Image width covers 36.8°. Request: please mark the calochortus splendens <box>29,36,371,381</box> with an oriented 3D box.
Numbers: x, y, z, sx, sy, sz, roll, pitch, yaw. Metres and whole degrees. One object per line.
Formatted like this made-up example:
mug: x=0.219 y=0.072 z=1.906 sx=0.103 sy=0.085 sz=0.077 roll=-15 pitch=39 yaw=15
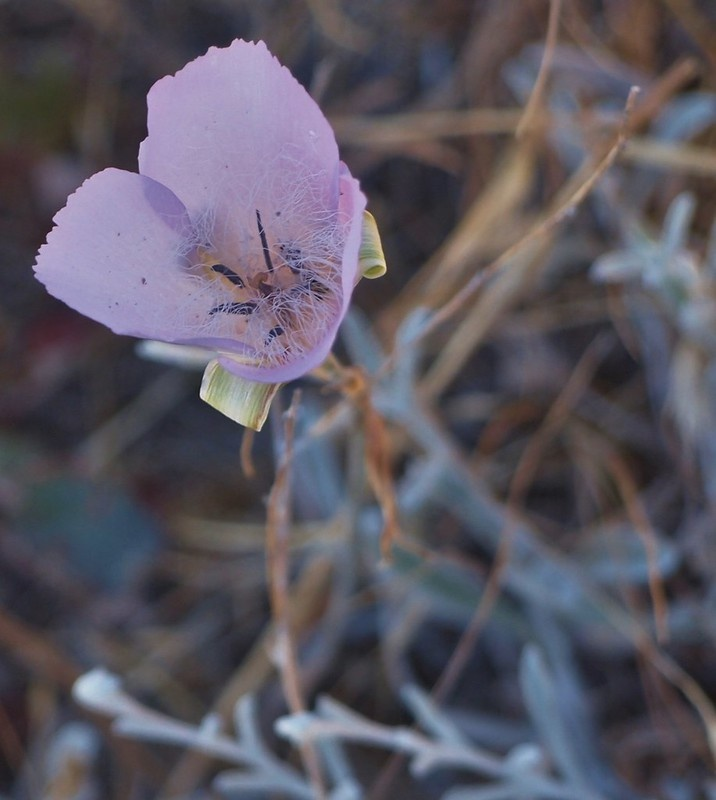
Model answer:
calochortus splendens: x=-0.112 y=-0.135 z=0.786 sx=0.184 sy=0.210 sz=0.176 roll=23 pitch=47 yaw=21
